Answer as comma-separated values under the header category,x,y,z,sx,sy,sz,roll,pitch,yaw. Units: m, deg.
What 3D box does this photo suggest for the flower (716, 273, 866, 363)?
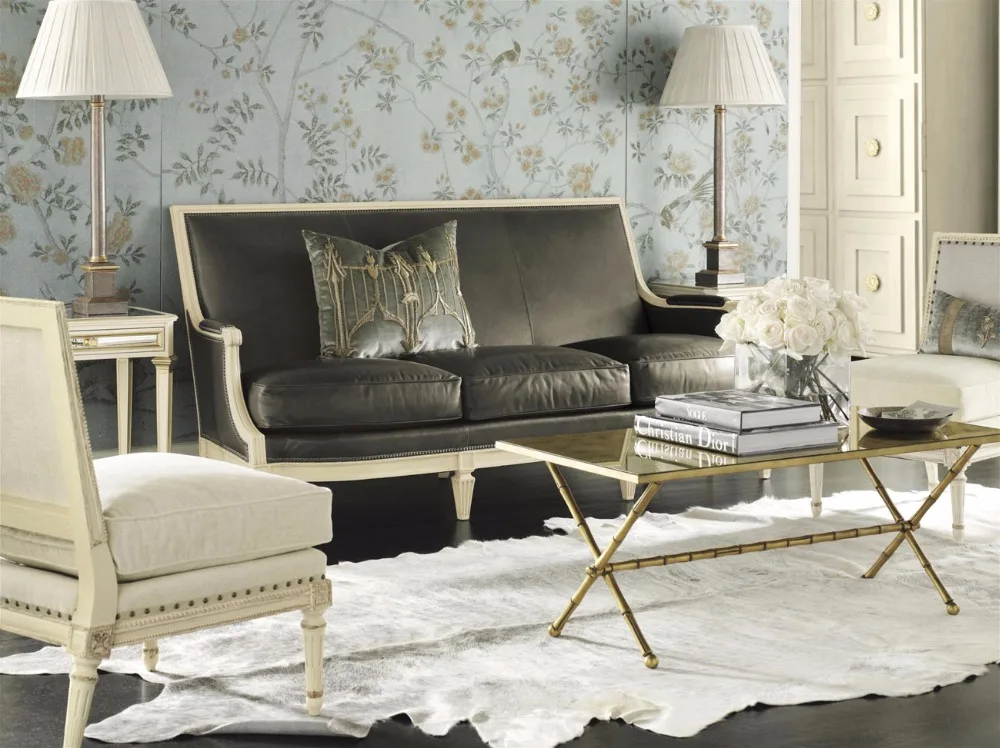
category,x,y,z,sx,sy,sz,roll,pitch,yaw
flower,0.885,-0.131,2.729,0.376,0.294,0.315,-4,36,-7

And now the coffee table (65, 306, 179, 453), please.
category,x,y,z,sx,sy,sz,roll,pitch,yaw
coffee table,-1.514,0.033,3.510,0.451,0.436,0.420,1,-7,31

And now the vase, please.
category,x,y,z,sx,sy,sz,roll,pitch,yaw
vase,0.822,0.060,2.551,0.335,0.266,0.181,2,5,27

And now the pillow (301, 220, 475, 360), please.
category,x,y,z,sx,sy,sz,roll,pitch,yaw
pillow,-0.481,-0.375,3.895,0.269,0.521,0.829,15,18,40

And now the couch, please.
category,x,y,z,sx,sy,sz,roll,pitch,yaw
couch,-0.078,-0.148,3.993,2.352,0.995,1.081,-7,19,-28
